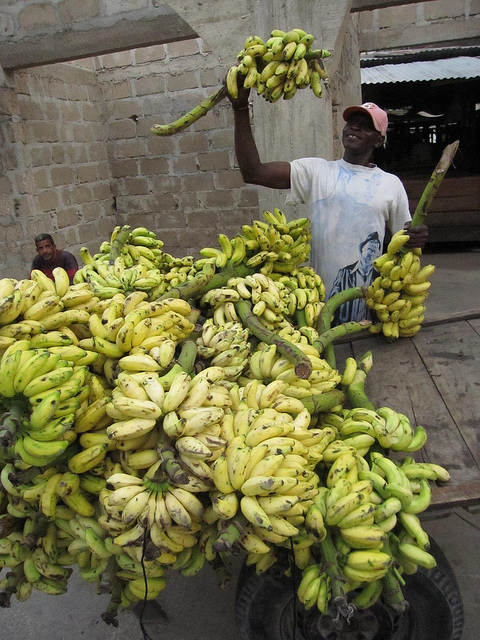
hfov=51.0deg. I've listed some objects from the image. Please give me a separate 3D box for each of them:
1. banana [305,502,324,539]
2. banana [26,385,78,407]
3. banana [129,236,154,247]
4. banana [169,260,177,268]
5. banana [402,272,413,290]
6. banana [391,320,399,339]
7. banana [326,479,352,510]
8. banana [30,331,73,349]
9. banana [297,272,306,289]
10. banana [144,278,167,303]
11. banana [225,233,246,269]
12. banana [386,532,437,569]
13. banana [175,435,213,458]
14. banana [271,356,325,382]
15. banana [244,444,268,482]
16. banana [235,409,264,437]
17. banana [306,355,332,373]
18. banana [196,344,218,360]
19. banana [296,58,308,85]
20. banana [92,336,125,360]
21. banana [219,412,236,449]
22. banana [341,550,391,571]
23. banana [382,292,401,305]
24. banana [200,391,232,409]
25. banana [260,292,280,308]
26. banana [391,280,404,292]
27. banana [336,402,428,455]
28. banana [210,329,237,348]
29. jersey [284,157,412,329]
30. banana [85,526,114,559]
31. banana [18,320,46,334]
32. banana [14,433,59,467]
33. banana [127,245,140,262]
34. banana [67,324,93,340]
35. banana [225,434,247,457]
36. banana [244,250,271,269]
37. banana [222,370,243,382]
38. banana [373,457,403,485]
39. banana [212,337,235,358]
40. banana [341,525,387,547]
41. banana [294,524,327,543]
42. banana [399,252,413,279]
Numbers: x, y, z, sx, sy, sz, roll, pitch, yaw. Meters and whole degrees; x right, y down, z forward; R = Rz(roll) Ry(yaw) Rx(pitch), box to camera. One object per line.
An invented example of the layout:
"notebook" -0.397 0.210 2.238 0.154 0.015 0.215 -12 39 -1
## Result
"banana" 0.167 0.459 1.135 0.021 0.058 0.031 11 -22 -18
"banana" -0.436 0.174 1.158 0.079 0.024 0.020 -20 45 -6
"banana" -0.414 -0.329 2.114 0.045 0.039 0.111 -25 34 -37
"banana" -0.269 -0.227 2.011 0.008 0.021 0.021 17 22 -31
"banana" 0.688 -0.156 2.055 0.040 0.062 0.021 22 52 -4
"banana" 0.658 0.040 2.126 0.022 0.026 0.073 19 66 -10
"banana" 0.237 0.408 1.201 0.037 0.026 0.076 25 50 30
"banana" -0.511 0.054 1.344 0.089 0.027 0.047 2 20 -9
"banana" 0.251 -0.158 2.030 0.019 0.033 0.059 24 45 -46
"banana" -0.287 -0.105 1.775 0.032 0.038 0.115 -8 28 29
"banana" -0.014 -0.266 1.937 0.063 0.109 0.134 5 28 14
"banana" 0.419 0.560 1.227 0.114 0.080 0.049 21 36 38
"banana" -0.105 0.285 1.124 0.074 0.024 0.040 26 48 23
"banana" 0.180 0.135 1.567 0.144 0.075 0.040 -19 30 -9
"banana" 0.044 0.322 1.168 0.028 0.032 0.094 20 60 19
"banana" 0.019 0.256 1.265 0.030 0.033 0.103 -8 33 42
"banana" 0.272 0.151 1.649 0.043 0.031 0.121 21 -2 43
"banana" -0.106 0.093 1.485 0.030 0.023 0.056 22 -3 9
"banana" 0.226 -0.897 1.814 0.034 0.098 0.028 1 -12 42
"banana" -0.352 0.073 1.352 0.063 0.021 0.040 37 7 -5
"banana" -0.026 0.272 1.263 0.023 0.029 0.081 41 30 -17
"banana" 0.287 0.555 1.150 0.093 0.044 0.030 -10 60 7
"banana" 0.636 -0.092 2.112 0.074 0.034 0.025 -36 13 6
"banana" -0.063 0.216 1.347 0.080 0.029 0.037 10 47 -27
"banana" 0.109 -0.072 1.800 0.046 0.043 0.069 -25 34 -37
"banana" 0.650 -0.141 2.076 0.040 0.042 0.027 0 7 -5
"banana" 0.435 0.344 1.503 0.213 0.078 0.179 0 25 -13
"banana" -0.056 0.058 1.574 0.033 0.037 0.122 -2 11 43
"jersey" 0.633 -0.508 2.933 0.707 0.787 0.473 0 28 5
"banana" -0.353 0.547 1.232 0.071 0.086 0.036 16 34 33
"banana" -0.558 0.017 1.352 0.055 0.040 0.050 -8 27 -11
"banana" -0.453 0.305 1.125 0.074 0.029 0.083 -10 57 -35
"banana" -0.420 -0.265 1.991 0.037 0.027 0.099 -10 34 -3
"banana" -0.475 0.035 1.504 0.038 0.027 0.105 -10 -12 6
"banana" -0.010 0.291 1.207 0.025 0.021 0.078 41 47 12
"banana" 0.072 -0.228 1.929 0.094 0.031 0.048 -29 56 -4
"banana" -0.029 0.174 1.566 0.075 0.025 0.021 -23 -1 43
"banana" 0.384 0.385 1.290 0.036 0.017 0.071 8 21 -21
"banana" -0.051 0.079 1.539 0.092 0.027 0.030 -42 15 -25
"banana" 0.282 0.486 1.140 0.085 0.029 0.045 7 49 32
"banana" 0.169 0.504 1.189 0.049 0.079 0.021 -22 48 16
"banana" 0.682 -0.228 2.081 0.036 0.123 0.041 26 -17 -1
